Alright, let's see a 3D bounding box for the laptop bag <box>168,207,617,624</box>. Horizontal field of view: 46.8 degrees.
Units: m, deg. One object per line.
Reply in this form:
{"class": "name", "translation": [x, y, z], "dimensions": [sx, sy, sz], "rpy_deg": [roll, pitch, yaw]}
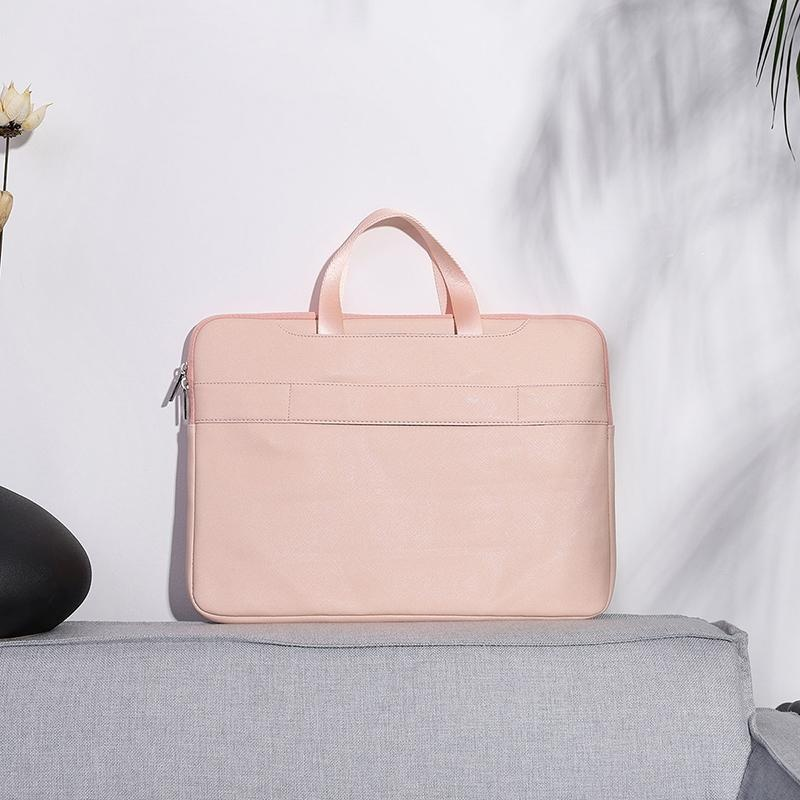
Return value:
{"class": "laptop bag", "translation": [-0.026, 0.030, 0.953], "dimensions": [0.415, 0.403, 0.098], "rpy_deg": [0, -4, -5]}
